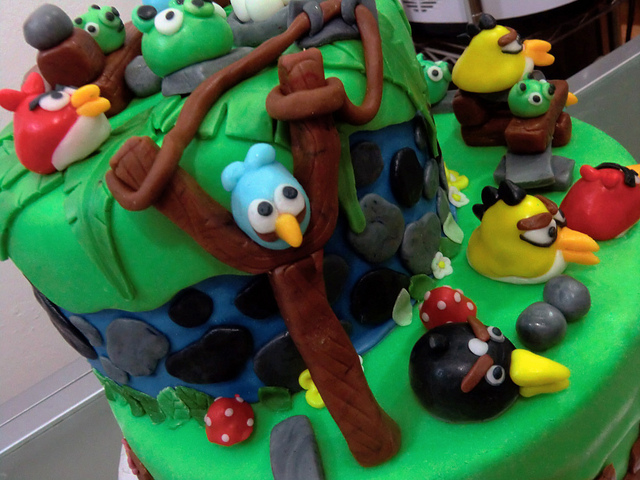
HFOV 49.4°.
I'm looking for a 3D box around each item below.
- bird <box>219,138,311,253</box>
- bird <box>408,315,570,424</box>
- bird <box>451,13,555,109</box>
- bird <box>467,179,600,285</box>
[{"bbox_3d":[-0.109,-0.085,1.459,0.163,0.155,0.225,-33,62,-15],"label":"bird"},{"bbox_3d":[0.371,0.298,1.588,0.294,0.160,0.232,-1,58,14],"label":"bird"},{"bbox_3d":[0.554,-0.543,2.118,0.272,0.307,0.235,-6,26,18],"label":"bird"},{"bbox_3d":[0.542,-0.013,1.807,0.289,0.249,0.232,12,57,26],"label":"bird"}]
